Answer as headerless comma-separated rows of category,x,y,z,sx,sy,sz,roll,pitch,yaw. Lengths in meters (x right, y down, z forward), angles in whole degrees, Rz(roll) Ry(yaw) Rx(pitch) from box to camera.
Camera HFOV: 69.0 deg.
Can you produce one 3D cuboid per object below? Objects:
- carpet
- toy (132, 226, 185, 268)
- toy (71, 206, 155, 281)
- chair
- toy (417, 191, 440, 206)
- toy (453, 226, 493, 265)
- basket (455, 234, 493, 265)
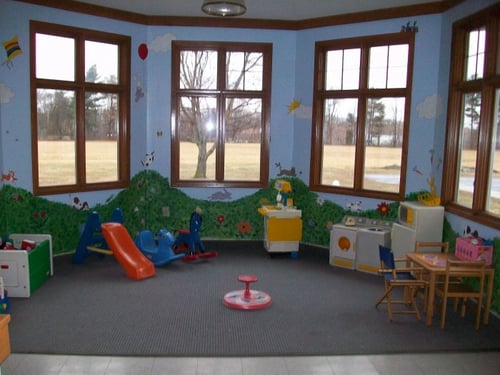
carpet,-0.338,1.626,5.373,5.969,0.072,2.760,1,9,-2
toy,-1.673,1.044,6.916,1.248,0.835,0.456,10,9,38
toy,-2.229,0.900,6.689,1.864,1.267,0.818,10,9,32
chair,2.464,1.234,4.965,1.150,0.828,1.151,-3,10,-4
toy,3.081,0.202,6.244,0.320,0.155,0.553,3,10,13
toy,2.955,0.641,4.818,0.315,0.434,0.612,-2,6,-3
basket,2.958,0.835,4.830,0.429,0.343,0.263,9,13,40
